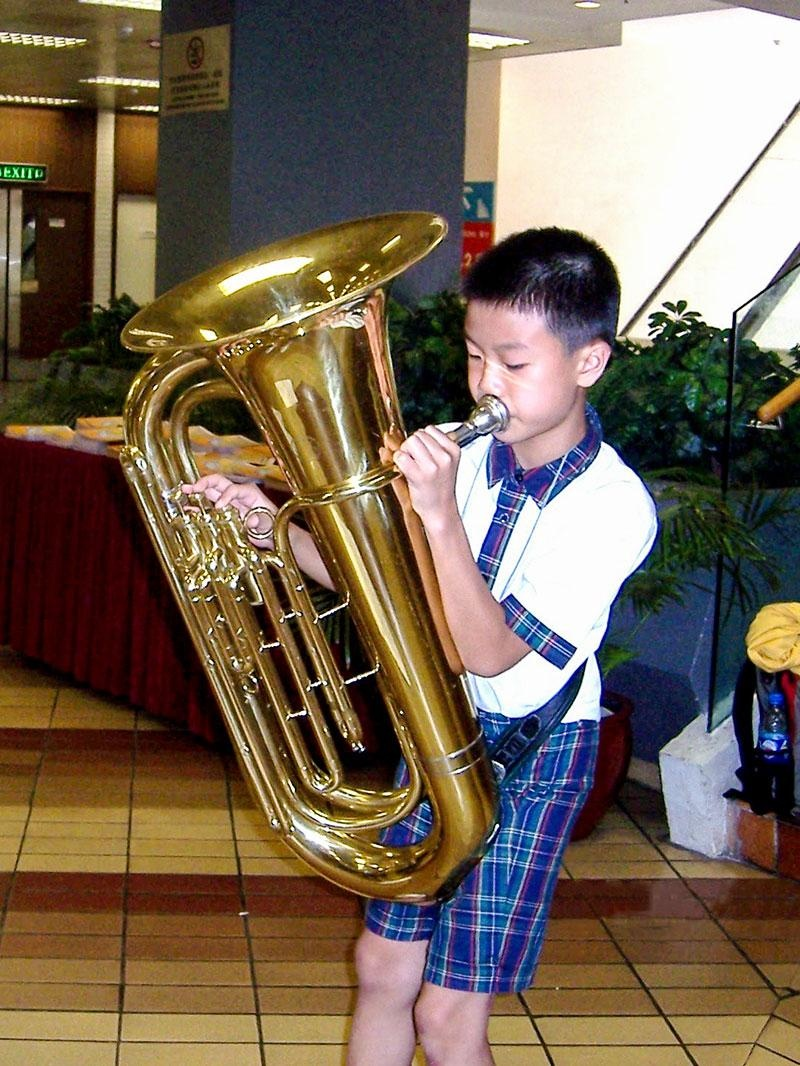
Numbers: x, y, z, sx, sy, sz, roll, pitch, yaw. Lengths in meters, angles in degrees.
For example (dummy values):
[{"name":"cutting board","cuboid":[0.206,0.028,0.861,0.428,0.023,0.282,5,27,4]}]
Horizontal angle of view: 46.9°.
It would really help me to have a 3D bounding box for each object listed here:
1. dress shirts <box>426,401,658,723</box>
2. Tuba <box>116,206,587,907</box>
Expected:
[{"name":"dress shirts","cuboid":[0.122,0.024,1.021,0.125,0.370,0.233,-5,9,39]},{"name":"Tuba","cuboid":[-0.116,0.033,1.008,0.375,0.732,0.474,1,9,-19]}]
